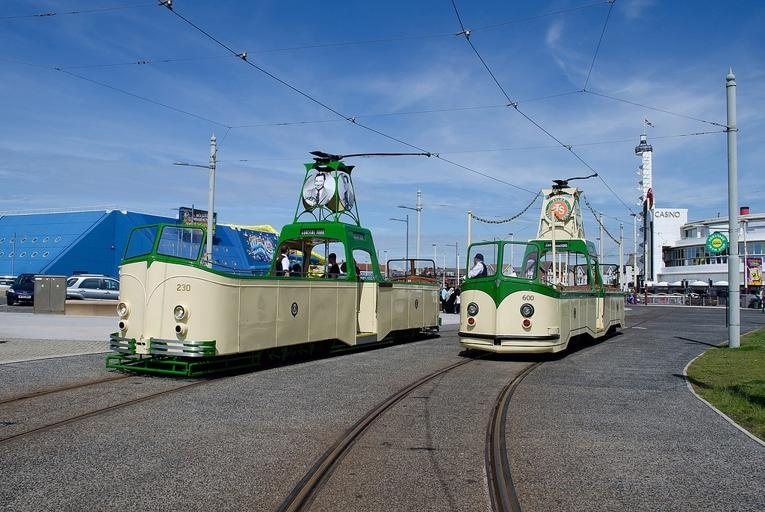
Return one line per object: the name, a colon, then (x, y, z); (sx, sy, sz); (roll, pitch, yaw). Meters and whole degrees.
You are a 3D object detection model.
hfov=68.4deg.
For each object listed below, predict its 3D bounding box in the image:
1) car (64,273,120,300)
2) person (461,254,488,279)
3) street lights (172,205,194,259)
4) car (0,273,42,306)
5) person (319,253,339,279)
car: (-16.334, 1.773, 31.695); (2.993, 1.343, 1.360); (0, 5, -30)
person: (2.380, 0.304, 14.584); (0.399, 0.800, 0.577); (6, -5, 25)
street lights: (-4.318, -0.497, 12.464); (0.023, 1.172, 0.273); (-2, 0, 36)
car: (-21.736, 2.073, 34.049); (2.160, 1.860, 1.205); (1, 1, 29)
person: (-1.484, 0.297, 16.325); (0.583, 1.037, 0.620); (2, -7, 6)
